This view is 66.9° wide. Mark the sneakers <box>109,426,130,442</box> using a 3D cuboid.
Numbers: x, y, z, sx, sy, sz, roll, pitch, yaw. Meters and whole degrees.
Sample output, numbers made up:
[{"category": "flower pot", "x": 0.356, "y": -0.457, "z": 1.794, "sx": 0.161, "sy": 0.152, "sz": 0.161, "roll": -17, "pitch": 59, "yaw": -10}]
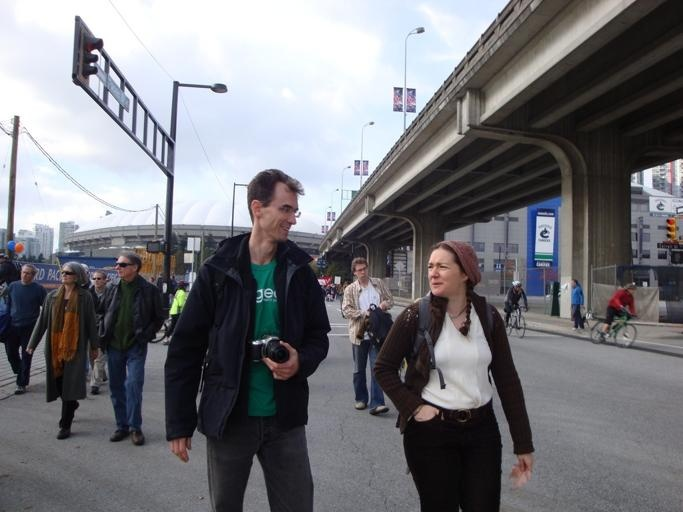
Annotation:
[{"category": "sneakers", "x": -2.720, "y": 2.198, "z": 6.335, "sx": 0.081, "sy": 0.112, "sz": 0.246, "roll": 1, "pitch": -15, "yaw": 8}]

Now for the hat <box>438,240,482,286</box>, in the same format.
[{"category": "hat", "x": 0.900, "y": 0.060, "z": 3.818, "sx": 0.250, "sy": 0.362, "sz": 0.324, "roll": 4, "pitch": -11, "yaw": -19}]

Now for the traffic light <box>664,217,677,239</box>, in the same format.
[{"category": "traffic light", "x": 15.236, "y": -1.242, "z": 23.777, "sx": 0.394, "sy": 1.231, "sz": 2.151, "roll": 1, "pitch": -2, "yaw": 34}]

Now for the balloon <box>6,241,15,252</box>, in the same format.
[{"category": "balloon", "x": -14.002, "y": -0.377, "z": 21.934, "sx": 0.324, "sy": 0.464, "sz": 0.357, "roll": -9, "pitch": 1, "yaw": -22}]

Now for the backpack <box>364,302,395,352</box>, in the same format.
[{"category": "backpack", "x": 0.584, "y": 1.025, "z": 7.336, "sx": 0.450, "sy": 0.686, "sz": 0.318, "roll": 10, "pitch": -16, "yaw": -37}]

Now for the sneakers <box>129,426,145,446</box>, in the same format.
[{"category": "sneakers", "x": -2.476, "y": 2.199, "z": 6.289, "sx": 0.098, "sy": 0.131, "sz": 0.279, "roll": 2, "pitch": -7, "yaw": -27}]

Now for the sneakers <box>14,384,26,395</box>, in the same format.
[{"category": "sneakers", "x": -5.186, "y": 2.165, "z": 8.359, "sx": 0.158, "sy": 0.114, "sz": 0.196, "roll": 4, "pitch": -2, "yaw": -34}]

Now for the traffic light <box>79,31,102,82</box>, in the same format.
[{"category": "traffic light", "x": -5.231, "y": -4.086, "z": 10.651, "sx": 0.449, "sy": 0.982, "sz": 0.464, "roll": 2, "pitch": -1, "yaw": 45}]

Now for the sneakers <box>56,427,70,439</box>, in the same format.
[{"category": "sneakers", "x": -3.404, "y": 2.171, "z": 6.367, "sx": 0.147, "sy": 0.118, "sz": 0.261, "roll": 3, "pitch": -2, "yaw": -29}]

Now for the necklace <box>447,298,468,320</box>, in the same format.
[{"category": "necklace", "x": 0.830, "y": 0.388, "z": 3.685, "sx": 0.109, "sy": 0.172, "sz": 0.119, "roll": 2, "pitch": -14, "yaw": 5}]

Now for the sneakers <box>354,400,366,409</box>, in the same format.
[{"category": "sneakers", "x": 0.270, "y": 2.221, "z": 7.679, "sx": 0.201, "sy": 0.095, "sz": 0.187, "roll": 2, "pitch": -2, "yaw": 23}]

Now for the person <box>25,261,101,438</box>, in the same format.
[{"category": "person", "x": -3.623, "y": 1.155, "z": 6.845, "sx": 0.718, "sy": 1.935, "sz": 1.282, "roll": 3, "pitch": -2, "yaw": -31}]

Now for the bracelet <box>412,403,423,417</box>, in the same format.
[{"category": "bracelet", "x": 0.518, "y": 1.043, "z": 3.495, "sx": 0.016, "sy": 0.068, "sz": 0.049, "roll": 36, "pitch": 10, "yaw": -3}]

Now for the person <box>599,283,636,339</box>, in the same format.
[{"category": "person", "x": 8.164, "y": 1.616, "z": 15.093, "sx": 0.724, "sy": 1.664, "sz": 0.783, "roll": 15, "pitch": 2, "yaw": -42}]

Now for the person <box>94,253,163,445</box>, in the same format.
[{"category": "person", "x": -2.680, "y": 1.114, "z": 6.672, "sx": 0.721, "sy": 1.869, "sz": 1.016, "roll": 3, "pitch": -2, "yaw": -33}]

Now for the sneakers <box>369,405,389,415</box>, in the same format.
[{"category": "sneakers", "x": 0.539, "y": 2.192, "z": 7.352, "sx": 0.265, "sy": 0.138, "sz": 0.111, "roll": -8, "pitch": -6, "yaw": 6}]

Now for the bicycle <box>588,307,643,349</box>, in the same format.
[{"category": "bicycle", "x": 8.223, "y": 2.236, "z": 15.281, "sx": 0.725, "sy": 1.132, "sz": 1.635, "roll": 11, "pitch": -14, "yaw": -20}]
